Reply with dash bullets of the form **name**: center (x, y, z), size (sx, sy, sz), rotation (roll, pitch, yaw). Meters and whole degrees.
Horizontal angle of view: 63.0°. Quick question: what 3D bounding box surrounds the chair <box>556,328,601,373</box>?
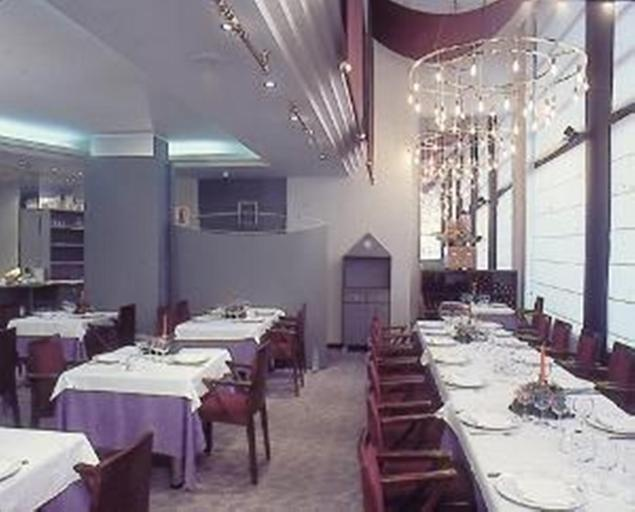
- **chair**: center (2.868, 1.064, 5.660), size (0.420, 0.509, 0.488), rotation (0, -2, 13)

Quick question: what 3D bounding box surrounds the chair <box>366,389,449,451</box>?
- **chair**: center (0.658, 1.306, 3.871), size (0.505, 0.362, 0.547), rotation (1, -9, 1)

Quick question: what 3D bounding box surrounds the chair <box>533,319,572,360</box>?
- **chair**: center (2.837, 1.008, 6.273), size (0.198, 0.595, 0.401), rotation (1, 16, -31)

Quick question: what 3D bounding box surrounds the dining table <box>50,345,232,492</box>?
- **dining table**: center (-1.527, 1.203, 4.394), size (1.071, 0.724, 1.300), rotation (0, -2, 5)

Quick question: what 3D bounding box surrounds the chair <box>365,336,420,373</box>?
- **chair**: center (0.852, 1.105, 5.842), size (0.572, 0.317, 0.867), rotation (0, 3, 5)

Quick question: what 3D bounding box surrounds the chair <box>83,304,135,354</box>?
- **chair**: center (-2.678, 0.934, 6.736), size (0.497, 0.774, 0.544), rotation (0, -3, 8)

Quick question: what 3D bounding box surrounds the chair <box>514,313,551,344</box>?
- **chair**: center (2.930, 1.011, 7.042), size (0.391, 0.425, 0.597), rotation (1, -3, 12)

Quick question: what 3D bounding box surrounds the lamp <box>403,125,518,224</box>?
- **lamp**: center (2.489, -1.481, 8.840), size (1.631, 1.764, 0.415), rotation (4, 2, 1)

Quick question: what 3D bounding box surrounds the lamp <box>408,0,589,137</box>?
- **lamp**: center (2.852, -3.007, 8.152), size (2.113, 0.590, 2.390), rotation (8, -21, -19)

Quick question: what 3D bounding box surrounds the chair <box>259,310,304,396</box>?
- **chair**: center (-0.466, 1.262, 6.737), size (0.326, 0.691, 0.957), rotation (0, -3, 5)
